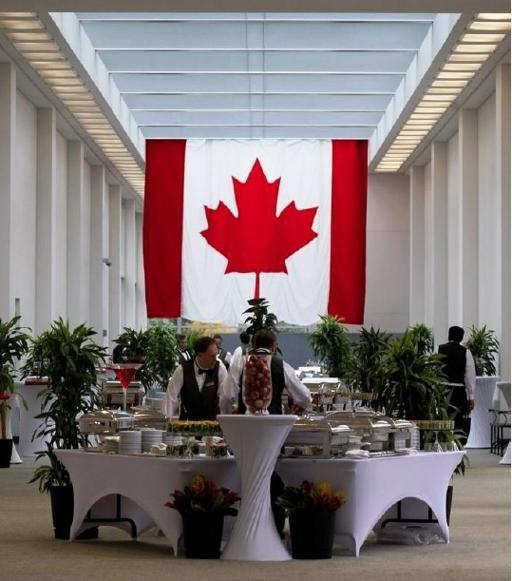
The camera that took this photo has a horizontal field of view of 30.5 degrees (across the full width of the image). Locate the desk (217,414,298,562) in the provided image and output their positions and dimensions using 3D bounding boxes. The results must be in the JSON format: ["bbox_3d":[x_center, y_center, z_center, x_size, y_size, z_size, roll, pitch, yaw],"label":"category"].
[{"bbox_3d":[0.000,1.138,5.417,0.443,0.835,0.285,0,-5,-3],"label":"desk"}]

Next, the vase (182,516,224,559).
[{"bbox_3d":[-0.306,1.425,5.509,0.169,0.330,0.189,1,-7,-14],"label":"vase"}]

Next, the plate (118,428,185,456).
[{"bbox_3d":[-0.696,0.939,5.871,0.246,0.153,0.222,1,-5,-1],"label":"plate"}]

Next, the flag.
[{"bbox_3d":[-0.057,-1.219,18.735,4.236,3.712,0.349,0,-5,1],"label":"flag"}]

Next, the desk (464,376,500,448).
[{"bbox_3d":[3.153,1.688,13.167,0.400,1.381,0.611,1,-4,9],"label":"desk"}]
